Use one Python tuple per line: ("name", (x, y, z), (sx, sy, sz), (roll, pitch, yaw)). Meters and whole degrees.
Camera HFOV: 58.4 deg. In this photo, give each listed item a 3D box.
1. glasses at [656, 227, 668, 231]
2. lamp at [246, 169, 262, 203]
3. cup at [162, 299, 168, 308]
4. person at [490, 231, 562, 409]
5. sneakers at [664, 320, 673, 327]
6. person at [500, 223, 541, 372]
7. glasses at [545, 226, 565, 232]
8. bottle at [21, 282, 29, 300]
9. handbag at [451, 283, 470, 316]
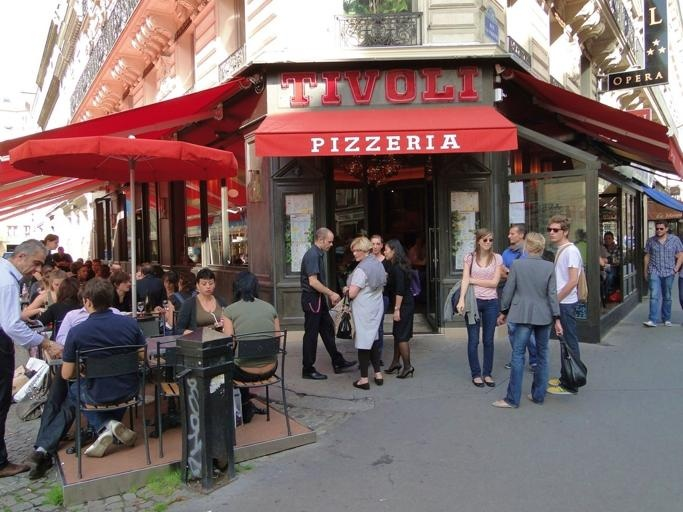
("glasses", (6.800, -0.566, 12.926), (0.190, 0.103, 0.204), (5, 12, 23))
("lamp", (-1.694, -1.356, 11.913), (0.141, 0.637, 0.455), (-9, 13, -39))
("cup", (-2.791, 0.755, 9.668), (0.128, 0.137, 0.232), (2, -5, -14))
("person", (2.495, 0.806, 8.147), (0.861, 2.244, 0.562), (1, 2, 12))
("sneakers", (6.922, 1.433, 12.920), (0.094, 0.114, 0.277), (-2, -7, 19))
("person", (2.779, 0.673, 9.682), (0.573, 2.353, 0.564), (0, 12, 17))
("glasses", (3.092, -0.389, 8.793), (0.152, 0.051, 0.156), (8, -4, -20))
("bottle", (-6.098, 0.685, 11.762), (0.205, 0.311, 0.067), (-6, -13, 25))
("handbag", (1.671, 0.600, 8.749), (0.270, 0.388, 0.132), (-2, -12, 23))
